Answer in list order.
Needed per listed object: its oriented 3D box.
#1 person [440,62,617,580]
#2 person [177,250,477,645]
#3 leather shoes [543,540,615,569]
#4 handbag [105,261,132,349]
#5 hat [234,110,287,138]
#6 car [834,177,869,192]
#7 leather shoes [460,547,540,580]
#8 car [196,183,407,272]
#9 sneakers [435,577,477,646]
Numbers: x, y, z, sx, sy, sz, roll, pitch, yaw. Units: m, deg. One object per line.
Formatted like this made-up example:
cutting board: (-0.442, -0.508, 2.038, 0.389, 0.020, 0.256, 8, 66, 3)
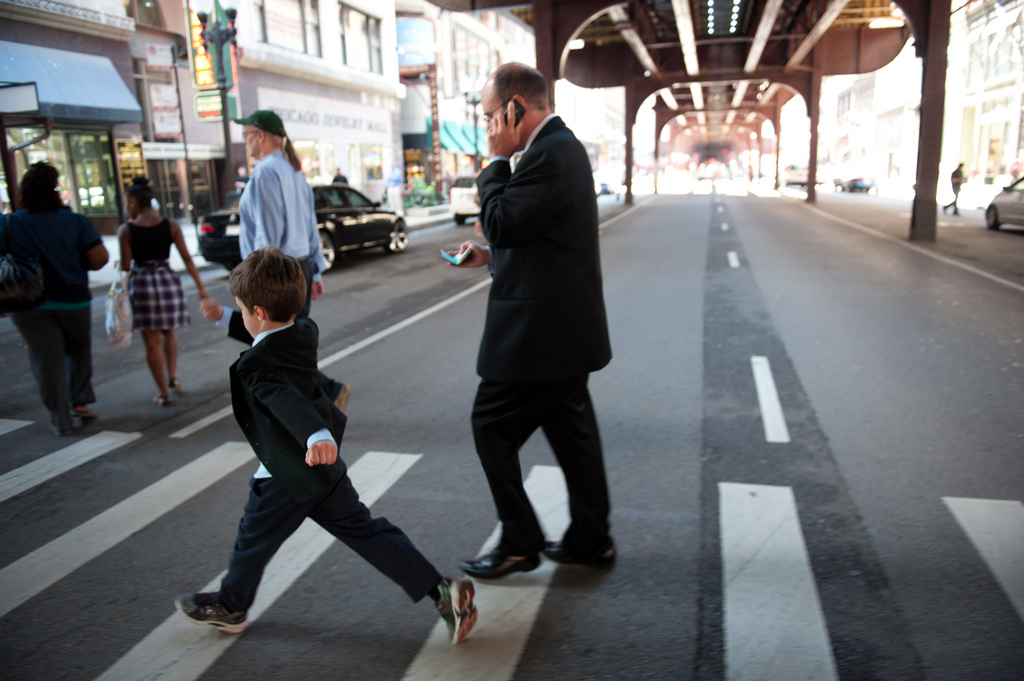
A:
person: (0.151, -0.046, 3.984, 0.854, 2.924, 0.404, -2, 13, 0)
person: (-1.055, 0.600, 3.572, 1.477, 2.073, 0.609, 3, 14, 21)
leather shoes: (0.403, 1.334, 4.344, 0.464, 0.187, 0.157, 8, 7, 9)
handbag: (-3.870, -0.291, 6.883, 0.250, 0.780, 0.354, -9, 15, -28)
hat: (-2.115, -1.837, 5.920, 0.337, 0.224, 0.331, -8, 15, -22)
car: (25.492, -11.486, 51.571, 1.042, 1.052, 4.392, -1, 14, 6)
leather shoes: (-0.070, 1.346, 4.139, 0.508, 0.193, 0.183, 1, -4, -7)
car: (-4.646, -2.755, 16.856, 2.445, 1.629, 5.105, 4, 15, 33)
sneakers: (-0.283, 1.401, 3.661, 0.186, 0.392, 0.146, -1, 2, -5)
